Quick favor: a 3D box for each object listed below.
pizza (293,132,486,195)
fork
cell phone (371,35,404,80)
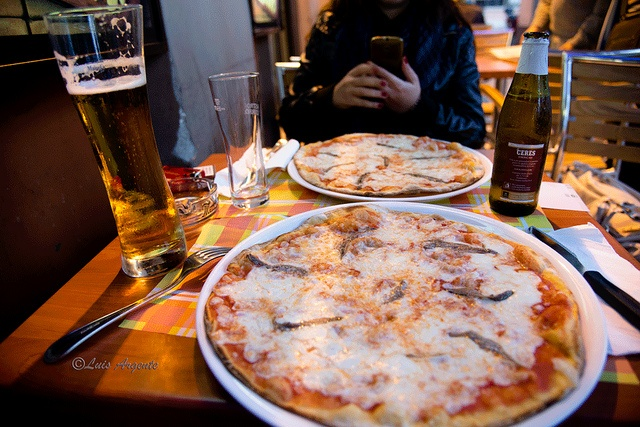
[{"bbox_3d":[0.249,-0.178,1.662,0.390,0.063,0.371,9,26,20],"label":"pizza"},{"bbox_3d":[-0.437,0.231,1.103,0.384,0.052,0.051,-37,36,-29],"label":"fork"},{"bbox_3d":[0.311,-0.712,2.070,0.150,0.199,0.129,6,32,11],"label":"cell phone"}]
